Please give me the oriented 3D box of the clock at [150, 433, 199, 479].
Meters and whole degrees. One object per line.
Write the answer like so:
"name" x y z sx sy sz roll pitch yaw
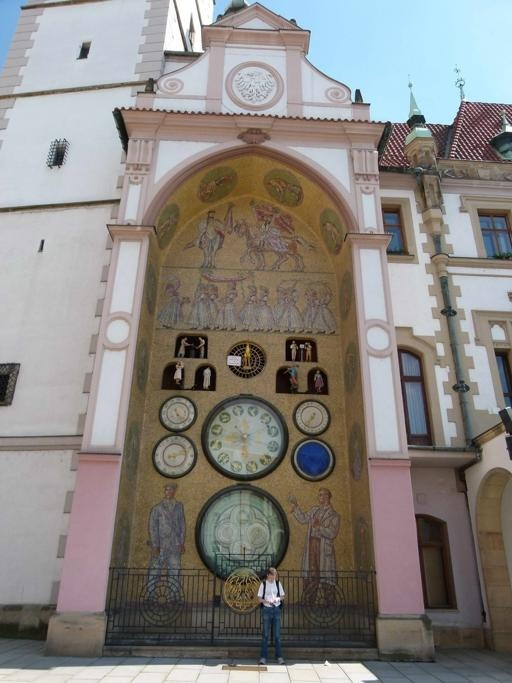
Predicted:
"clock" -1.573 2.200 10.302 0.819 0.814 0.265 5 -11 -9

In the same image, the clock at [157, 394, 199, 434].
"clock" -1.551 1.433 10.655 0.723 0.732 0.262 5 -11 -10

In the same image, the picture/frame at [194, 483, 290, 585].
"picture/frame" -0.298 3.763 10.330 1.601 1.474 1.490 2 -32 -2

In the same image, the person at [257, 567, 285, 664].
"person" 0.195 3.622 7.241 0.390 1.222 0.741 3 -11 4

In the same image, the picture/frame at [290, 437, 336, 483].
"picture/frame" 1.070 2.293 10.432 0.821 0.789 0.286 2 -11 5

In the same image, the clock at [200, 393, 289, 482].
"clock" -0.256 1.931 10.772 1.809 1.625 1.748 6 -11 -25
